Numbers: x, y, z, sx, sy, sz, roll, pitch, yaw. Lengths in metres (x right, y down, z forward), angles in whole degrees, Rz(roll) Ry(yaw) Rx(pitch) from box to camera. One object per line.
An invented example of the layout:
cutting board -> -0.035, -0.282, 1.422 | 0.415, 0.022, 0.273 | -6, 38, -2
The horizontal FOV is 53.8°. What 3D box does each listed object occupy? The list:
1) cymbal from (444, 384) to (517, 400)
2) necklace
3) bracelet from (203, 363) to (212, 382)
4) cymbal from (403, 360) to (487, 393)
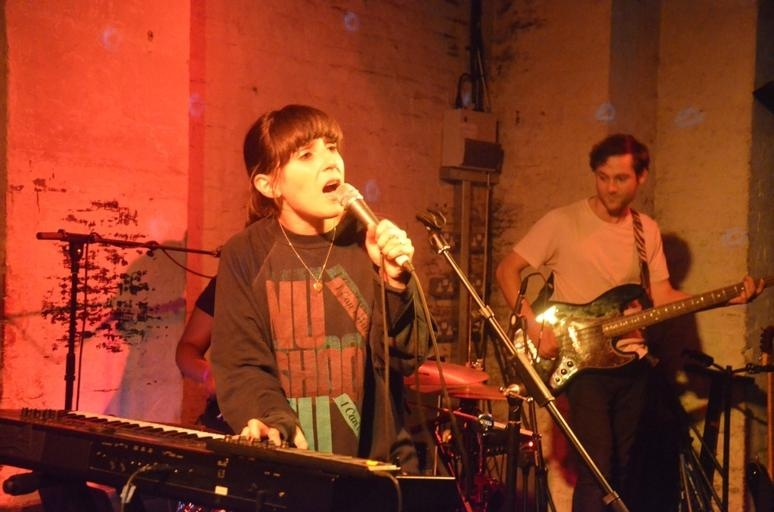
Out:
cymbal -> 0.573, 0.833, 4.622 | 0.247, 0.039, 0.268 | 5, 4, 41
necklace -> -0.360, -0.005, 3.654 | 0.288, 0.285, 0.068 | -4, -12, -27
bracelet -> -0.962, 0.627, 4.062 | 0.045, 0.046, 0.187 | 5, -3, -13
cymbal -> 0.357, 0.726, 4.557 | 0.373, 0.091, 0.359 | 8, -2, -43
